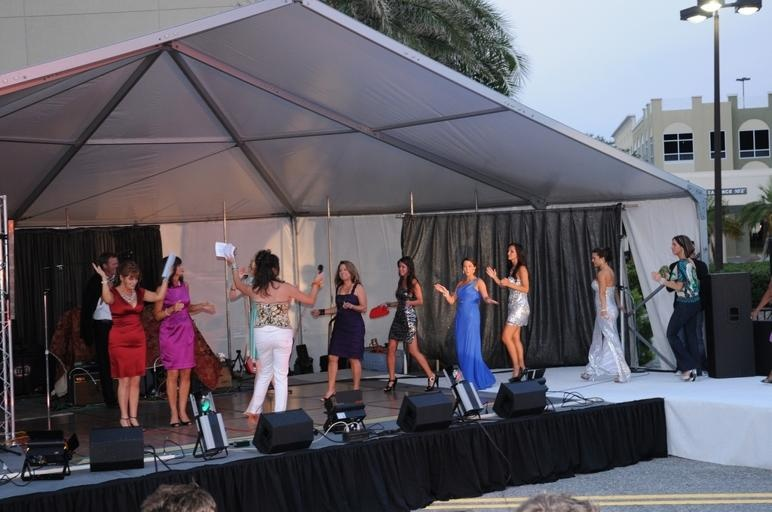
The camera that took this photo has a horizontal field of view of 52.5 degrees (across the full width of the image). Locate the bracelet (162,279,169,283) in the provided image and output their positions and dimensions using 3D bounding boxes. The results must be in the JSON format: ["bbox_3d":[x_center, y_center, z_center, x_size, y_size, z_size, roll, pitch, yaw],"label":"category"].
[{"bbox_3d":[-3.019,0.359,10.721,0.057,0.058,0.058,1,-11,-1],"label":"bracelet"}]

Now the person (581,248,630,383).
[{"bbox_3d":[3.512,0.961,12.860,0.676,1.787,1.213,-6,-3,16],"label":"person"}]

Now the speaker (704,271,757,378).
[{"bbox_3d":[5.322,1.084,12.180,0.792,1.507,0.300,-5,-3,-6],"label":"speaker"}]

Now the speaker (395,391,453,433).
[{"bbox_3d":[0.468,1.967,9.713,0.608,0.478,0.471,-2,-29,-35],"label":"speaker"}]

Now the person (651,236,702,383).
[{"bbox_3d":[4.630,0.820,12.344,0.518,2.015,0.713,-7,-4,36],"label":"person"}]

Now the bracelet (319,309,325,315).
[{"bbox_3d":[-1.006,0.886,12.205,0.086,0.046,0.115,-1,-1,2],"label":"bracelet"}]

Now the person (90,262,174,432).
[{"bbox_3d":[-3.411,1.188,10.625,0.844,2.214,0.436,-3,-3,-25],"label":"person"}]

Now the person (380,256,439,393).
[{"bbox_3d":[0.311,1.114,12.929,0.854,1.484,0.657,-5,-3,9],"label":"person"}]

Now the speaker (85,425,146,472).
[{"bbox_3d":[-3.054,2.209,8.863,0.725,0.580,0.407,0,-4,-10],"label":"speaker"}]

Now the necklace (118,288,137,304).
[{"bbox_3d":[-3.485,0.576,10.569,0.088,0.215,0.211,-32,-20,31],"label":"necklace"}]

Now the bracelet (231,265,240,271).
[{"bbox_3d":[-2.225,0.185,11.545,0.092,0.044,0.124,7,-10,-29],"label":"bracelet"}]

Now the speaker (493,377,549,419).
[{"bbox_3d":[1.725,1.860,10.095,0.744,0.364,0.262,-4,-3,-19],"label":"speaker"}]

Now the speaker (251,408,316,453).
[{"bbox_3d":[-1.209,2.093,9.204,0.625,0.508,0.465,0,25,-34],"label":"speaker"}]
